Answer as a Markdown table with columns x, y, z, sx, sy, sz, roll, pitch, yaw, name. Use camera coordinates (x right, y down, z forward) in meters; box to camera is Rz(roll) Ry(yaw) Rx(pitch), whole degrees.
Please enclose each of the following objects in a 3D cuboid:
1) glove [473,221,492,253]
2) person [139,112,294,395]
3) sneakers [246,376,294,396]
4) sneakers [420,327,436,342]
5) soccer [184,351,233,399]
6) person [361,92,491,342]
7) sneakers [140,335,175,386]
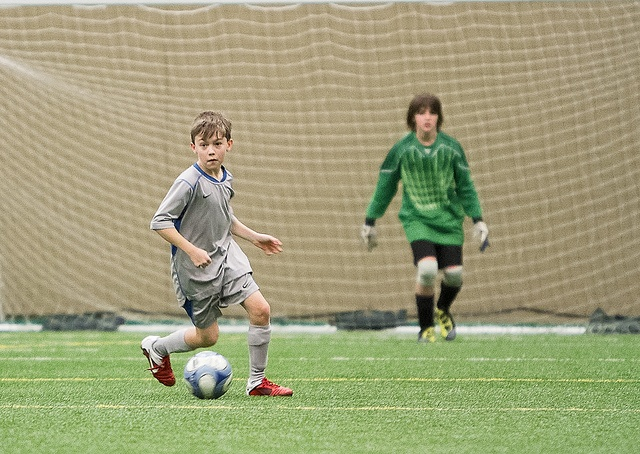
| x | y | z | sx | sy | sz | roll | pitch | yaw | name |
| --- | --- | --- | --- | --- | --- | --- | --- | --- | --- |
| 1.660 | 0.084 | 9.219 | 0.136 | 0.322 | 0.258 | 5 | 3 | 3 | glove |
| -0.859 | 0.223 | 7.312 | 1.030 | 2.243 | 0.636 | 1 | -5 | -11 | person |
| -0.394 | 1.273 | 7.170 | 0.400 | 0.161 | 0.136 | -2 | -6 | 3 | sneakers |
| 1.145 | 1.137 | 9.501 | 0.123 | 0.158 | 0.165 | 1 | -10 | -1 | sneakers |
| -0.863 | 1.161 | 7.038 | 0.331 | 0.331 | 0.332 | 1 | -17 | 1 | soccer |
| 1.125 | -0.228 | 9.266 | 1.240 | 2.208 | 0.659 | 0 | -5 | 1 | person |
| -1.373 | 1.135 | 7.580 | 0.178 | 0.391 | 0.132 | -21 | 12 | 48 | sneakers |
